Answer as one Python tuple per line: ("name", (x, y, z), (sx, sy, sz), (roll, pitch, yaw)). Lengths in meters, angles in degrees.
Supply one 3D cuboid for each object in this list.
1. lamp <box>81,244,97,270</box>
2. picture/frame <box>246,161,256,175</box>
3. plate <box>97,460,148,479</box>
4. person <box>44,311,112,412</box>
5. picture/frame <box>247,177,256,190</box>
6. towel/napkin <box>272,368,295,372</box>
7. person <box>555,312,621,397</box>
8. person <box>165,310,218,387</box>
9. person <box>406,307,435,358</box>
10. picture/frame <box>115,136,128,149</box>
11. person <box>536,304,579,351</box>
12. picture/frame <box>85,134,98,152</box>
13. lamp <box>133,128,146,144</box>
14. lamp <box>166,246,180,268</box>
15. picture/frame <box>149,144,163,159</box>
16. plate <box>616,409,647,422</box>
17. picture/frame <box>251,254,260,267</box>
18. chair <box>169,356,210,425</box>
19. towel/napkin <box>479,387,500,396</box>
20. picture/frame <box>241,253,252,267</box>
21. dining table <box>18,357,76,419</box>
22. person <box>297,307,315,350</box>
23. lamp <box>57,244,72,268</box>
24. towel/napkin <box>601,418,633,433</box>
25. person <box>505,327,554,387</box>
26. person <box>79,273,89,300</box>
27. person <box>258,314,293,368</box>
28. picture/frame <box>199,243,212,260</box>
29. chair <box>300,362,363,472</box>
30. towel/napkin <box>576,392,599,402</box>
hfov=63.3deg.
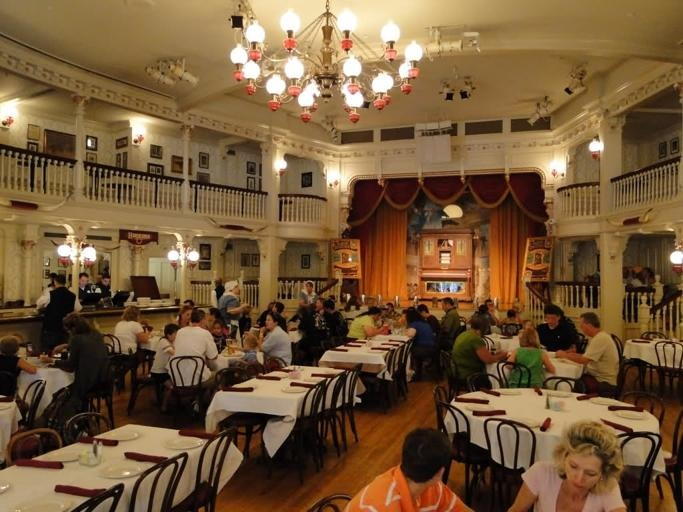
("lamp", (-5.923, -0.098, 12.891), (0.295, 0.468, 0.807), (1, -5, -26))
("picture/frame", (-3.024, -2.960, 18.342), (0.063, 0.492, 0.492), (-1, -5, 33))
("plate", (-1.821, 1.785, 4.619), (0.366, 0.086, 0.264), (-2, -5, 9))
("person", (-3.379, 1.383, 7.210), (0.654, 1.261, 0.449), (1, -4, -25))
("picture/frame", (-2.985, -2.458, 18.369), (0.118, 0.394, 0.376), (-4, -5, 37))
("towel/napkin", (-0.776, 1.517, 7.393), (0.138, 0.033, 0.132), (-4, -4, 28))
("person", (3.391, 1.530, 7.688), (0.837, 1.454, 0.696), (2, 6, 15))
("person", (-2.103, 1.270, 7.904), (0.605, 1.091, 0.674), (-1, 0, 15))
("person", (1.432, 1.443, 10.617), (0.656, 0.933, 0.818), (-7, -6, 20))
("picture/frame", (-6.061, -3.149, 15.248), (0.448, 0.266, 0.047), (-1, -7, 37))
("person", (3.782, 1.225, 9.551), (0.522, 0.880, 0.685), (13, -17, -32))
("picture/frame", (-6.825, -3.083, 15.065), (0.056, 0.446, 0.374), (-3, -5, 25))
("lamp", (-5.541, -3.259, 15.161), (0.215, 0.427, 0.496), (-1, -4, 5))
("lamp", (-4.286, 0.015, 14.146), (0.253, 0.516, 1.238), (0, -5, -15))
("picture/frame", (-5.319, -2.999, 15.742), (0.040, 0.415, 0.513), (-3, -1, 27))
("plate", (2.914, 1.600, 5.573), (0.270, 0.060, 0.224), (-3, -6, 25))
("picture/frame", (-2.976, 0.127, 19.033), (0.067, 0.627, 0.475), (-1, -2, 36))
("chair", (-2.171, 1.847, 7.835), (0.507, 0.948, 0.923), (0, -4, -15))
("towel/napkin", (1.707, 1.560, 6.380), (0.254, 0.063, 0.251), (8, -4, 0))
("picture/frame", (-3.288, 0.113, 18.847), (0.047, 0.465, 0.464), (-3, 3, 27))
("dining table", (-3.780, 1.700, 7.155), (0.664, 0.598, 0.652), (7, -9, -29))
("person", (-0.657, 1.325, 10.322), (0.317, 0.789, 1.003), (-1, -5, -4))
("lamp", (-5.948, -0.092, 11.916), (0.250, 0.423, 0.807), (1, -5, -25))
("towel/napkin", (2.620, 1.617, 5.307), (0.080, 0.054, 0.381), (18, -1, -17))
("person", (2.402, 1.293, 7.026), (0.577, 0.774, 0.356), (-2, -4, 15))
("person", (-5.778, 0.650, 12.360), (0.221, 0.606, 0.867), (1, -5, -25))
("person", (-1.016, 1.297, 8.321), (0.489, 0.852, 0.543), (7, 11, -14))
("picture/frame", (-4.341, -0.170, 17.446), (0.087, 0.612, 0.549), (-1, -2, 30))
("chair", (-0.140, 2.067, 6.997), (0.419, 0.789, 1.136), (-1, -4, 21))
("towel/napkin", (2.746, 1.550, 6.146), (0.305, 0.072, 0.086), (3, -3, -38))
